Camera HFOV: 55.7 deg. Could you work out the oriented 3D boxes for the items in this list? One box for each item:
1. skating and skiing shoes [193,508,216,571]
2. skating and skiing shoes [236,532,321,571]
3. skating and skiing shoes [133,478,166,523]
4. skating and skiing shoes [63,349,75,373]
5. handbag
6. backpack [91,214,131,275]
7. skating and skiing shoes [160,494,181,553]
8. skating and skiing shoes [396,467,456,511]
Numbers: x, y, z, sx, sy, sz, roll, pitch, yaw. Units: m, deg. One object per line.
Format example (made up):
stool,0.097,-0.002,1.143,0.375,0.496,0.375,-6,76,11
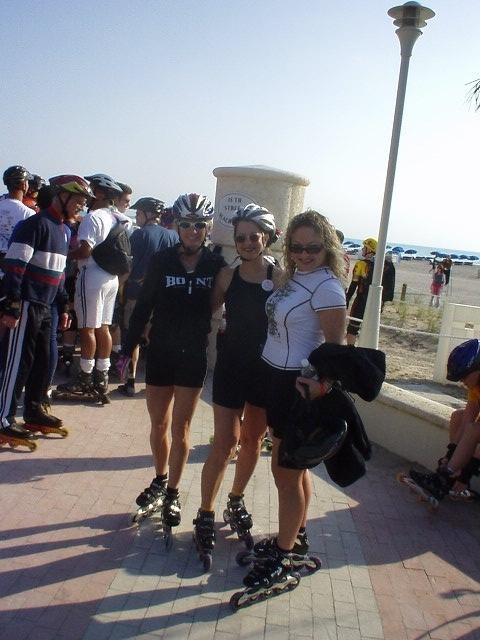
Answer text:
skating and skiing shoes,-0.199,1.191,2.434,0.094,0.163,0.303,2,-2,-6
skating and skiing shoes,0.224,1.285,2.546,0.485,0.246,0.105,5,-1,-6
skating and skiing shoes,-0.556,1.121,2.889,0.109,0.150,0.350,14,11,11
skating and skiing shoes,-2.135,0.512,5.638,0.107,0.295,0.216,0,-8,-10
handbag,0.315,0.508,2.011,0.291,0.350,0.178,8,9,14
backpack,-1.360,-0.776,4.831,0.337,0.561,0.298,4,14,0
skating and skiing shoes,-0.444,1.195,2.816,0.114,0.257,0.477,4,1,-10
skating and skiing shoes,1.393,1.220,3.476,0.174,0.217,0.502,7,14,-25
